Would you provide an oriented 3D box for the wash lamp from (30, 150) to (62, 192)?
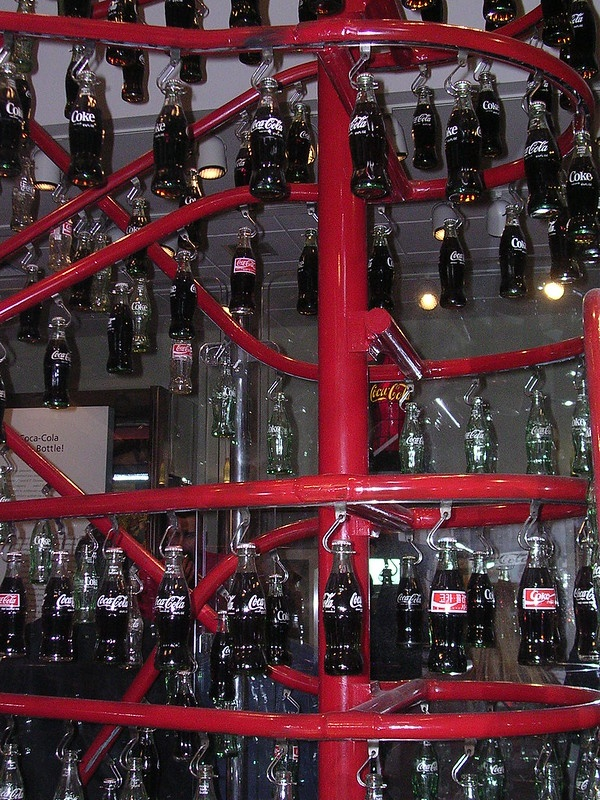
[{"bbox_3d":[-1.016,-0.916,3.496,0.095,0.094,0.357,-31,15,-8],"label":"wash lamp"}]
